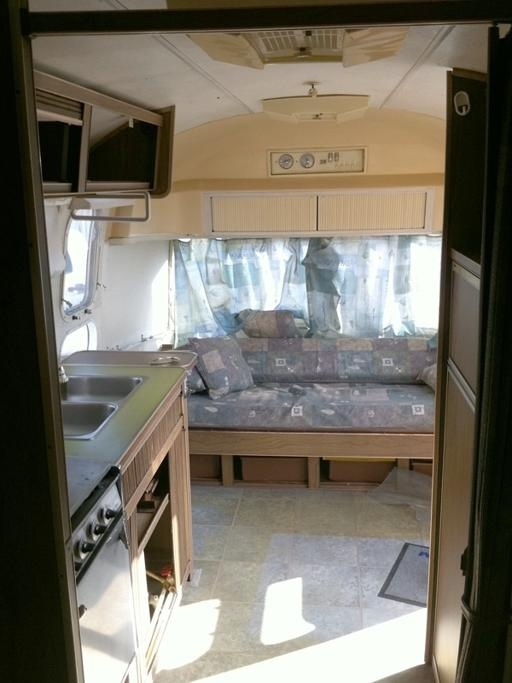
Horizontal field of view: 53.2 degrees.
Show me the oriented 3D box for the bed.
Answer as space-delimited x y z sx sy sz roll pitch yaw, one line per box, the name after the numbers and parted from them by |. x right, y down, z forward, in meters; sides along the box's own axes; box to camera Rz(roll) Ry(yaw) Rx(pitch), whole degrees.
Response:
0.403 0.402 3.528 1.693 0.875 0.861 -1 9 6 | bed

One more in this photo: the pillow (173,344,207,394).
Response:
-0.508 0.199 3.581 0.089 0.315 0.303 -12 5 36 | pillow

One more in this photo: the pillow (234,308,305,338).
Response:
0.113 -0.146 3.984 0.285 0.121 0.287 0 24 3 | pillow
